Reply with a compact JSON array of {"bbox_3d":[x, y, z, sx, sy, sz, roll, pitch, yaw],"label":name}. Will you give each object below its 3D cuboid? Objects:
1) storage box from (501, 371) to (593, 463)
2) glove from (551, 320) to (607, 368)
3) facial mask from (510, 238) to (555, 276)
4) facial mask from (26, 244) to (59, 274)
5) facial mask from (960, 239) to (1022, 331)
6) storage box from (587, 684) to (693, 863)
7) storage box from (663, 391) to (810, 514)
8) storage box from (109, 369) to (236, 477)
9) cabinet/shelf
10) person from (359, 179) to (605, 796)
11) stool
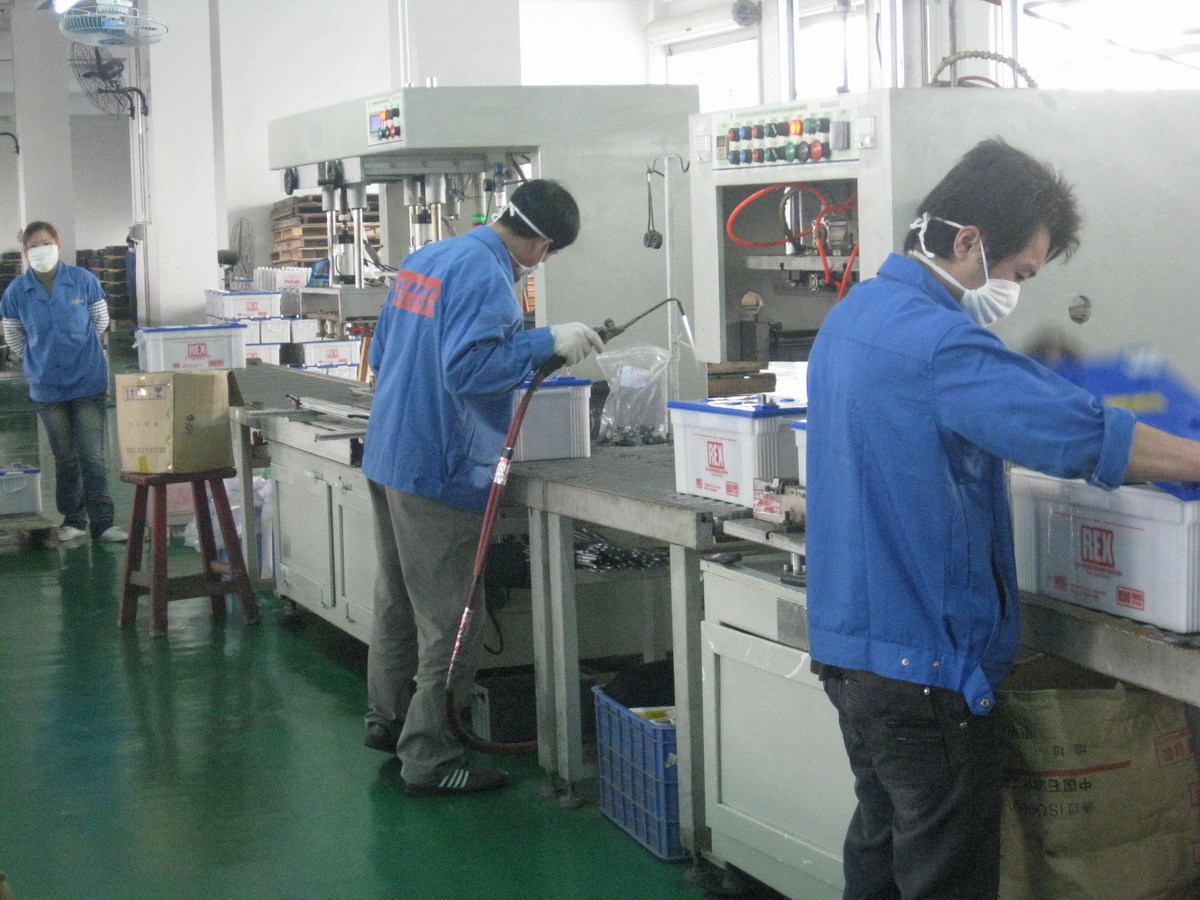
[{"bbox_3d":[-0.173,-0.107,3.419,0.249,0.251,0.249,-1,2,-20],"label":"storage box"},{"bbox_3d":[-0.061,-0.299,3.010,0.078,0.106,0.206,4,11,32],"label":"glove"},{"bbox_3d":[-0.198,-0.561,3.102,0.084,0.100,0.088,19,15,32],"label":"facial mask"},{"bbox_3d":[-3.110,-1.081,6.019,0.149,0.091,0.162,-8,30,-21],"label":"facial mask"},{"bbox_3d":[0.669,-0.293,1.895,0.071,0.123,0.111,-9,-2,14],"label":"facial mask"},{"bbox_3d":[0.087,0.877,2.934,0.299,0.371,0.526,-1,2,-19],"label":"storage box"},{"bbox_3d":[0.317,0.008,2.631,0.125,0.257,0.380,-9,12,-39],"label":"storage box"},{"bbox_3d":[-1.901,-0.124,4.790,0.329,0.416,0.443,0,4,7],"label":"storage box"},{"bbox_3d":[-1.105,0.385,4.298,0.480,0.510,0.729,-7,21,-39],"label":"cabinet/shelf"},{"bbox_3d":[-0.363,0.136,3.132,0.674,1.784,0.403,-2,9,0],"label":"person"},{"bbox_3d":[-1.817,0.436,4.855,0.612,0.667,0.643,-4,2,18],"label":"stool"}]
